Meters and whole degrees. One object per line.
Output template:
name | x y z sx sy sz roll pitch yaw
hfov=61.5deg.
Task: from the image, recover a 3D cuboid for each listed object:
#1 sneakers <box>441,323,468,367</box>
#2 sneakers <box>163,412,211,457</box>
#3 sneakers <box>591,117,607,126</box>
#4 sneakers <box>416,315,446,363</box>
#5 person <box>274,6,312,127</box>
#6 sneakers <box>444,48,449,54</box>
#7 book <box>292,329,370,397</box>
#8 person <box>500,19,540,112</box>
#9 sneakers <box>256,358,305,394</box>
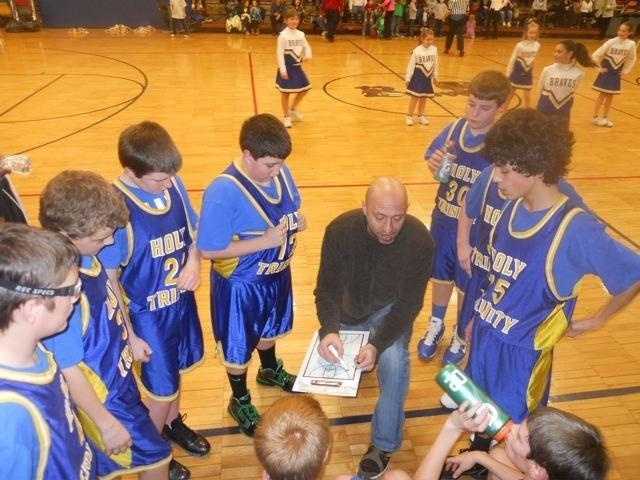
sneakers | 1.086 0.855 4.305 0.159 0.192 0.480 13 38 17
sneakers | -0.919 1.354 3.708 0.379 0.177 0.128 32 35 4
sneakers | 5.080 -2.141 9.772 0.125 0.094 0.233 -24 35 0
sneakers | 0.930 0.836 4.493 0.146 0.249 0.432 13 50 21
person | -0.443 -2.990 9.257 0.587 1.825 1.511 -1 25 -3
sneakers | 3.894 -5.788 16.483 0.125 0.125 0.127 3 71 2
book | 0.095 0.830 3.563 0.474 0.141 0.661 -3 32 4
person | 3.808 -3.141 9.984 0.515 1.662 0.471 15 42 22
sneakers | -0.250 1.073 4.201 0.435 0.283 0.162 10 42 1
